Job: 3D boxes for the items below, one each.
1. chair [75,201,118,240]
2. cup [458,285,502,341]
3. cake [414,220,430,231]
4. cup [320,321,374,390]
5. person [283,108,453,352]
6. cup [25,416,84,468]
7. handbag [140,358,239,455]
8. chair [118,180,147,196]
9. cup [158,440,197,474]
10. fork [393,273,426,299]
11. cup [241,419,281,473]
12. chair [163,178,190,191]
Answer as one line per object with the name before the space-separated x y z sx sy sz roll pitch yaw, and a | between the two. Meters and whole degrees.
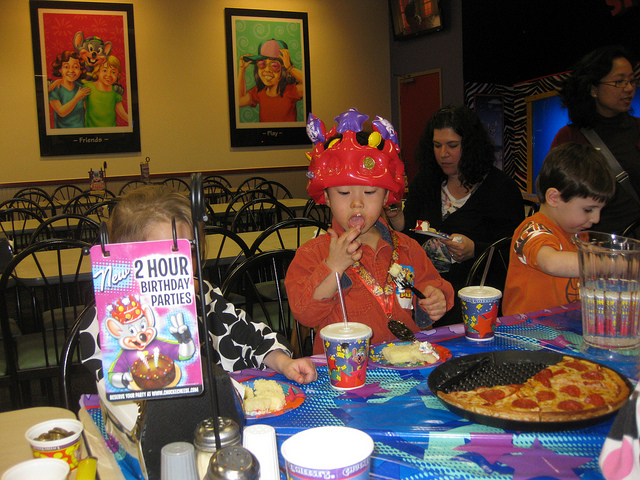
chair | -1.663 -0.184 3.596 0.172 0.186 0.239 -7 -32 -17
cup | 0.454 0.194 1.387 0.132 0.149 0.139 -1 13 0
cake | 0.533 -0.082 2.549 0.065 0.044 0.066 1 -6 13
cup | 0.060 0.270 1.195 0.129 0.145 0.134 -1 7 0
person | 0.148 0.015 1.664 0.577 0.874 0.461 -9 19 -13
cup | -0.484 0.397 0.918 0.079 0.056 0.082 -10 -11 -2
handbag | -0.218 0.273 0.792 0.163 0.162 0.135 -1 8 -32
chair | -2.525 -0.704 6.511 0.298 0.195 0.503 -8 12 -24
cup | -0.210 0.322 0.722 0.045 0.043 0.045 3 10 -1
fork | 0.282 0.137 1.529 0.065 0.067 0.138 -5 12 -15
cup | -0.090 0.324 0.753 0.046 0.063 0.061 -9 13 -31
chair | -1.911 -0.734 6.511 0.291 0.215 1.035 -6 12 -16
